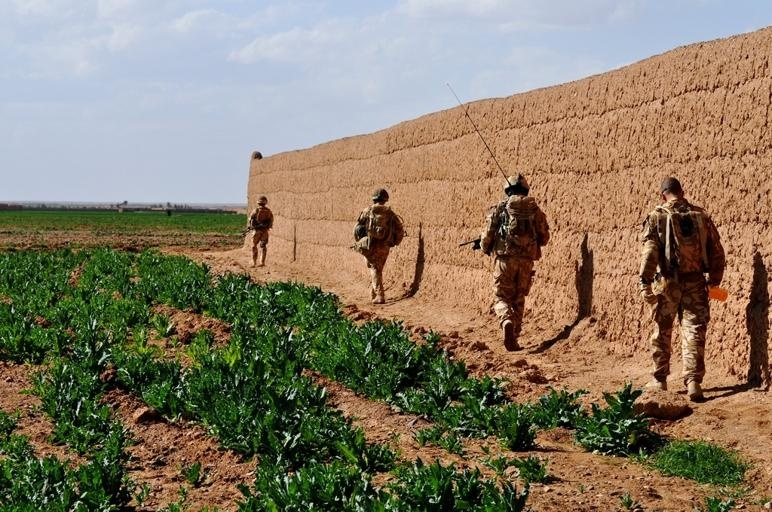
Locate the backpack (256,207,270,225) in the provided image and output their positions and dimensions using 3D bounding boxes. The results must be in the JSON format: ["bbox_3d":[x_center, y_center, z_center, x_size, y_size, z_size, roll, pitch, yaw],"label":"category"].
[{"bbox_3d":[-3.002,-0.928,22.298,0.313,0.407,0.434,1,20,-6],"label":"backpack"}]

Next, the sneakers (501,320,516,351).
[{"bbox_3d":[1.677,1.097,13.287,0.172,0.453,0.207,-2,1,-5],"label":"sneakers"}]

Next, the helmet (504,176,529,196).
[{"bbox_3d":[1.816,-0.994,13.489,0.277,0.275,0.310,1,7,1],"label":"helmet"}]

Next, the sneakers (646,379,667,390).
[{"bbox_3d":[3.209,1.506,11.306,0.216,0.145,0.135,9,3,40],"label":"sneakers"}]

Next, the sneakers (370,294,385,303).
[{"bbox_3d":[-0.230,0.753,17.096,0.189,0.193,0.195,-2,5,-3],"label":"sneakers"}]

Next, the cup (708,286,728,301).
[{"bbox_3d":[3.937,0.445,11.220,0.188,0.170,0.194,6,-17,2],"label":"cup"}]

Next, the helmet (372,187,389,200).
[{"bbox_3d":[-0.155,-1.065,16.649,0.219,0.139,0.230,11,16,30],"label":"helmet"}]

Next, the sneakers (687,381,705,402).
[{"bbox_3d":[3.608,1.578,11.135,0.204,0.210,0.215,0,-8,-4],"label":"sneakers"}]

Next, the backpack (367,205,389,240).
[{"bbox_3d":[-0.201,-0.576,16.838,0.434,0.585,0.610,-2,12,0],"label":"backpack"}]
